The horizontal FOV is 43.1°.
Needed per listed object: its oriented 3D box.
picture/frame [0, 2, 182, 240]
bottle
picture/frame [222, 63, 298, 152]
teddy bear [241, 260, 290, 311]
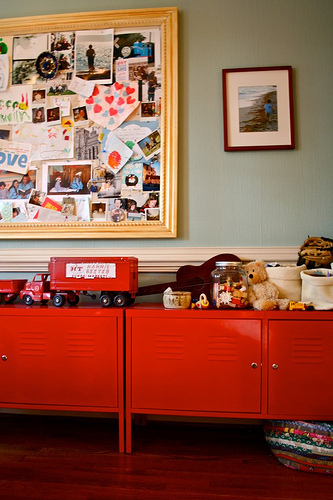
[{"bbox_3d":[-0.325,-0.600,2.021,1.189,1.133,0.052,0,-4,7],"label":"picture/frame"},{"bbox_3d":[0.250,0.140,1.659,0.173,0.193,0.157,-3,-6,36],"label":"bottle"},{"bbox_3d":[0.442,-0.649,1.942,0.414,0.477,0.021,-1,-2,8],"label":"picture/frame"},{"bbox_3d":[0.363,0.149,1.687,0.131,0.205,0.184,-20,-1,2],"label":"teddy bear"}]
